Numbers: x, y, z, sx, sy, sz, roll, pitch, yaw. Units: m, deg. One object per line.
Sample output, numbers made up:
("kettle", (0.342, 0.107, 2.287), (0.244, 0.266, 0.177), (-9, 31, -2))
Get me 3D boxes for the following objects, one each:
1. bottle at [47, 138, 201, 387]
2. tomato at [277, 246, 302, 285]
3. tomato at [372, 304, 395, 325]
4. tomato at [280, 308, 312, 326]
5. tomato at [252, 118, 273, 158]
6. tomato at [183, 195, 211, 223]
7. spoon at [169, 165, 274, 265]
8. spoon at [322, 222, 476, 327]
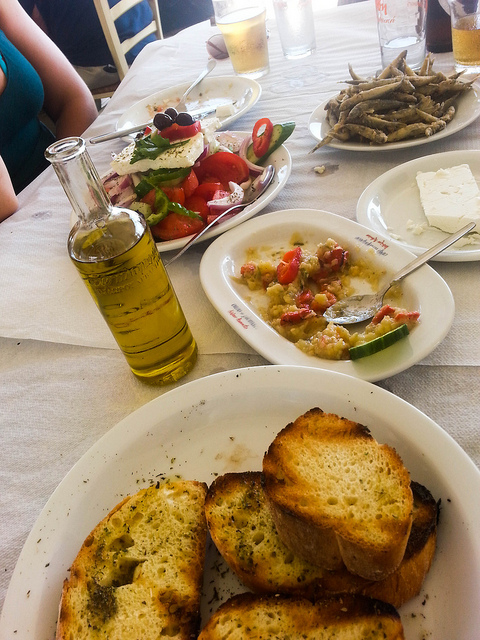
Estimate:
("bottle", (-0.175, -0.067, 0.844), (0.137, 0.433, 0.101), (-40, 43, -19))
("tomato", (0.096, -0.106, 1.053), (0.045, 0.017, 0.078), (-32, 20, 33))
("tomato", (0.237, -0.009, 0.907), (0.039, 0.023, 0.021), (-18, 39, 1))
("tomato", (0.098, -0.001, 0.960), (0.049, 0.015, 0.022), (-21, 55, 10))
("tomato", (0.067, -0.516, 1.513), (0.032, 0.112, 0.078), (9, 74, 8))
("tomato", (-0.101, -0.274, 1.313), (0.084, 0.028, 0.075), (14, 40, -18))
("spoon", (-0.045, -0.233, 1.248), (0.407, 0.046, 0.047), (-45, 3, -34))
("spoon", (0.288, -0.077, 0.980), (0.299, 0.033, 0.066), (-32, 42, 8))
